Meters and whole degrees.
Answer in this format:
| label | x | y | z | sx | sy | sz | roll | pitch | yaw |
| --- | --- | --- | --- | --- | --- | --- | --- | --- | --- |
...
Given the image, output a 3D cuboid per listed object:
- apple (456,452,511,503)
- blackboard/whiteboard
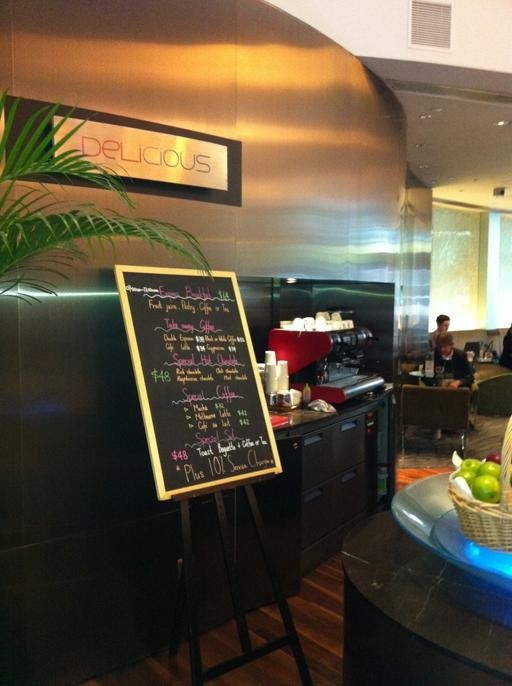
| label | x | y | z | sx | sy | sz | roll | pitch | yaw |
| --- | --- | --- | --- | --- | --- | --- | --- | --- | --- |
| apple | 0.469 | 0.277 | 1.119 | 0.080 | 0.035 | 0.098 | -10 | 12 | -8 |
| blackboard/whiteboard | -0.215 | 0.111 | 2.010 | 0.542 | 0.816 | 0.443 | -7 | 10 | -30 |
